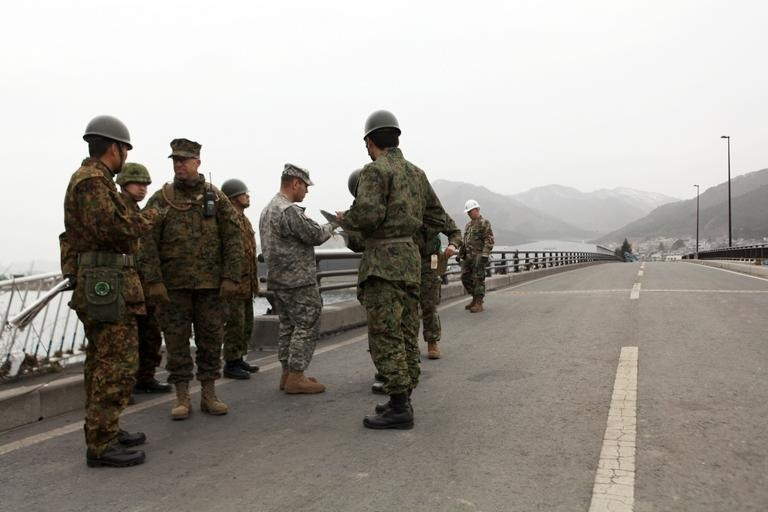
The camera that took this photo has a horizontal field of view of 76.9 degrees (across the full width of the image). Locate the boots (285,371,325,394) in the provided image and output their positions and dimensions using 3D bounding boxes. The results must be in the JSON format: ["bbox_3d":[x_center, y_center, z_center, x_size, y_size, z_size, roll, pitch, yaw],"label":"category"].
[{"bbox_3d":[-0.893,1.428,5.495,0.447,0.250,0.303,-4,0,-19],"label":"boots"}]

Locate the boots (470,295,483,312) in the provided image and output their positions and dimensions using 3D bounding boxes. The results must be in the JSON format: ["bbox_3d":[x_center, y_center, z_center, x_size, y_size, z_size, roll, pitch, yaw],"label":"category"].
[{"bbox_3d":[2.140,1.132,11.177,0.464,0.391,0.223,1,0,-1],"label":"boots"}]

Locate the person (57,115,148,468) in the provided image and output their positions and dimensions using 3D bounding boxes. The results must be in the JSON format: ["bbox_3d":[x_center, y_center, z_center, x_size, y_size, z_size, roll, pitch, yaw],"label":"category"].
[{"bbox_3d":[-2.236,0.263,3.970,0.615,2.720,0.597,-5,0,-33],"label":"person"}]

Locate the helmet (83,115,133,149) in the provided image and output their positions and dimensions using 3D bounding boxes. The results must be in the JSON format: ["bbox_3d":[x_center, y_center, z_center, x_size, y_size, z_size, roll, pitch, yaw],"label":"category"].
[{"bbox_3d":[-2.317,-1.003,4.039,0.355,0.265,0.254,2,-10,-31],"label":"helmet"}]

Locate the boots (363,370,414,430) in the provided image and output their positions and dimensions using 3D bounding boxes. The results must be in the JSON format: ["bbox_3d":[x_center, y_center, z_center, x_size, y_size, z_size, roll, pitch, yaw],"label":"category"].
[{"bbox_3d":[-0.013,1.414,4.529,0.549,0.478,0.261,5,-7,5],"label":"boots"}]

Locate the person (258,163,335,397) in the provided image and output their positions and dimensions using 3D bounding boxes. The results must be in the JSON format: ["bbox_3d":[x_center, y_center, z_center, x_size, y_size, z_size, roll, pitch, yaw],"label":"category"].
[{"bbox_3d":[-0.984,0.258,5.506,0.710,2.588,0.755,-5,0,-18],"label":"person"}]

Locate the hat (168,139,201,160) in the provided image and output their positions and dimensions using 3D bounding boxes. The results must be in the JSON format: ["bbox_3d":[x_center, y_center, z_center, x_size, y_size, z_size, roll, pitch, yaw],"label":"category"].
[{"bbox_3d":[-1.909,-1.035,4.658,0.262,0.187,0.285,-4,0,-24],"label":"hat"}]

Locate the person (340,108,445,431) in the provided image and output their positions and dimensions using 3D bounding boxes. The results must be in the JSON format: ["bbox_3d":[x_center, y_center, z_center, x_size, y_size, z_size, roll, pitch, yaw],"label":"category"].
[{"bbox_3d":[0.113,0.081,4.660,0.491,2.923,0.984,-5,0,39],"label":"person"}]
